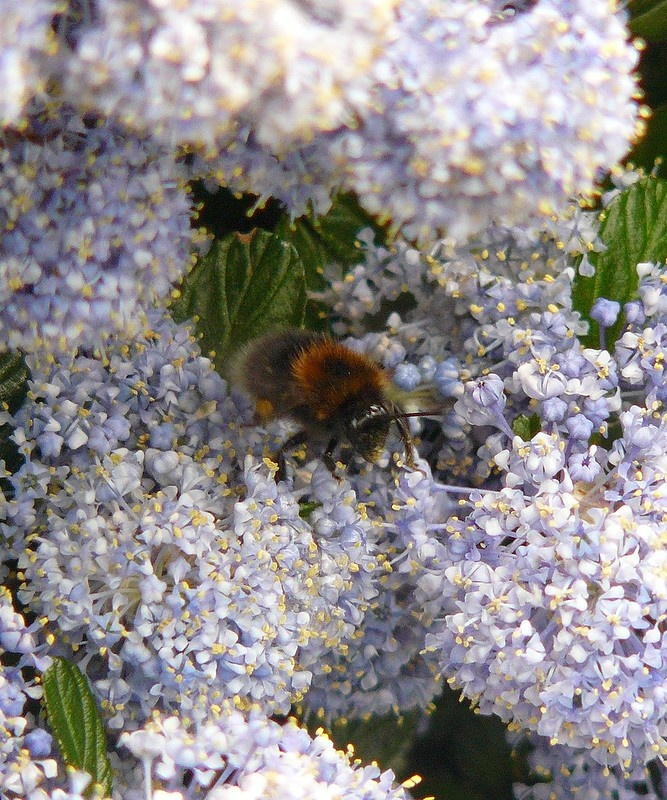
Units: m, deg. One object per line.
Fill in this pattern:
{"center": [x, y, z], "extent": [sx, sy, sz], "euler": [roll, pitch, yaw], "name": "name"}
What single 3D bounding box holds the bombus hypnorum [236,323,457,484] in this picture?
{"center": [-0.020, 0.017, 2.113], "extent": [0.313, 0.140, 0.230], "euler": [22, 30, 36], "name": "bombus hypnorum"}
